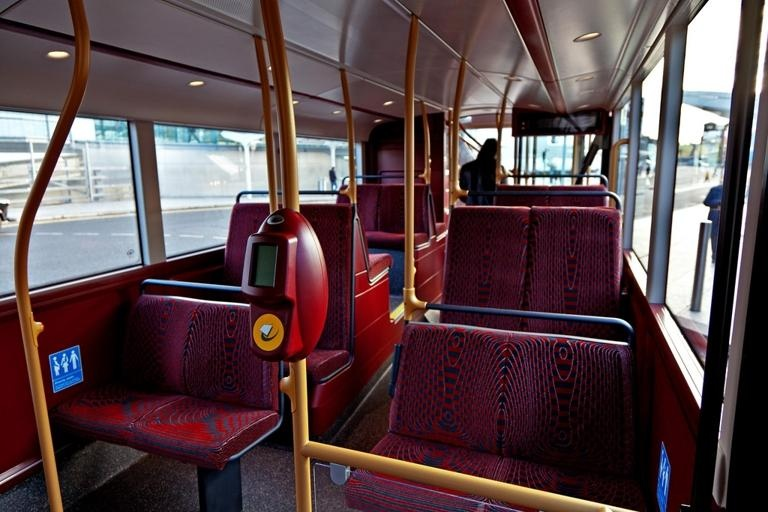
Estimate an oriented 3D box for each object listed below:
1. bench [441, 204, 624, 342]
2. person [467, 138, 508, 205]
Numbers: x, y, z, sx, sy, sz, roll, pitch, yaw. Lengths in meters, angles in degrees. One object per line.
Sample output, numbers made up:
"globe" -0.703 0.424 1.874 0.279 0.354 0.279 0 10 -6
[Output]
"bench" 1.028 0.012 3.865 1.199 0.737 0.181 5 9 17
"person" 1.425 -1.335 7.813 0.486 0.402 1.355 -9 -17 19
